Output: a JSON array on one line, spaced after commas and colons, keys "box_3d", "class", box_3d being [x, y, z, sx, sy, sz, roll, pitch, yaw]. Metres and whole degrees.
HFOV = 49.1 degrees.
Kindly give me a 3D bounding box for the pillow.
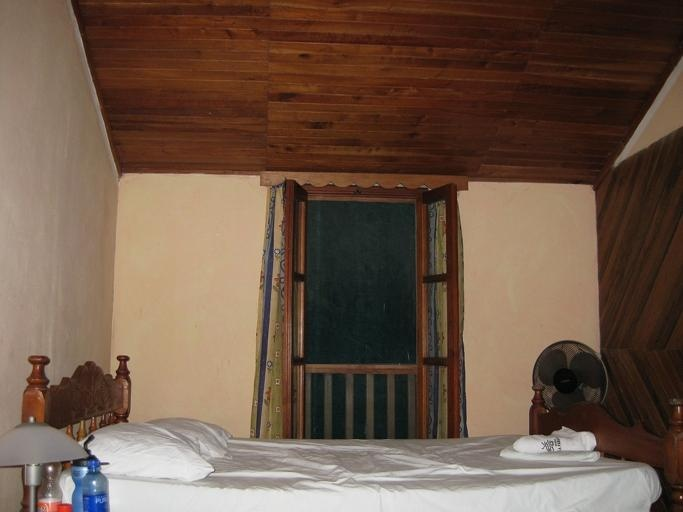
[{"box_3d": [-1.043, 1.091, 4.262, 0.723, 0.318, 0.730, 0, -11, -1], "class": "pillow"}]
